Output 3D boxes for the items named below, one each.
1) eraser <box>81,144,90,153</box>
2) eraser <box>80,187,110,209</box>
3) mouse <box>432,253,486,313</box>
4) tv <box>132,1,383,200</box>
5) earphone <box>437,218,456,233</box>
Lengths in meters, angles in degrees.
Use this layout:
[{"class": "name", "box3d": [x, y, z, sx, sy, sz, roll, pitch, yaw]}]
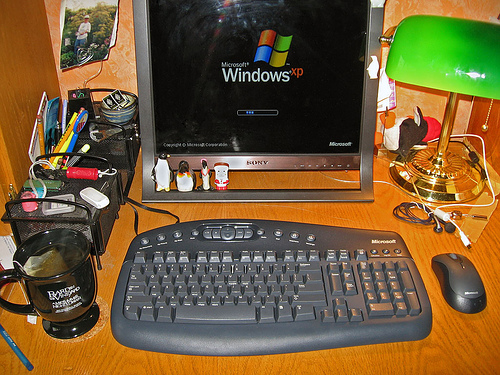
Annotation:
[{"class": "eraser", "box3d": [-0.411, -0.099, 1.004, 0.013, 0.021, 0.005, 14, 11, -5]}, {"class": "eraser", "box3d": [-0.336, 0.021, 0.868, 0.065, 0.015, 0.034, 32, 48, 25]}, {"class": "mouse", "box3d": [0.434, 0.179, 0.833, 0.080, 0.054, 0.160, -2, 29, 4]}, {"class": "tv", "box3d": [0.016, -0.223, 0.963, 0.411, 0.419, 0.170, -1, 19, -1]}, {"class": "earphone", "box3d": [0.465, 0.088, 0.936, 0.015, 0.010, 0.037, -20, 31, 3]}]
